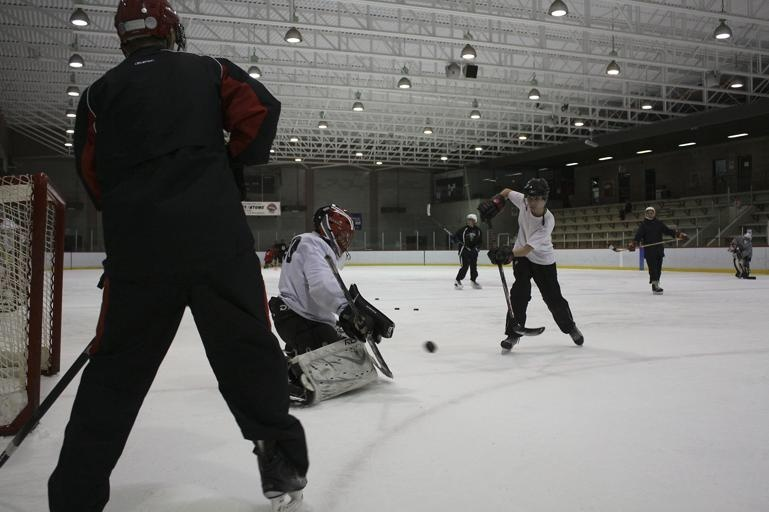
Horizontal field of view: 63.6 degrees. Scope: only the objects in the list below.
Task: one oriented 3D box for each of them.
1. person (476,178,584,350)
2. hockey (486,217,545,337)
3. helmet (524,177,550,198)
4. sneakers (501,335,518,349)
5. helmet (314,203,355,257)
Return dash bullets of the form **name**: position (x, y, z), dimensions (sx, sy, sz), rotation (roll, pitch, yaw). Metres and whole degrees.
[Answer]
- **person**: position (1.266, 0.052, 5.267), dimensions (0.848, 1.405, 1.186), rotation (2, 7, 18)
- **hockey**: position (1.106, 0.275, 5.192), dimensions (0.269, 1.000, 0.143), rotation (-8, -39, 5)
- **helmet**: position (1.206, -0.535, 4.895), dimensions (0.172, 0.194, 0.147), rotation (-5, -6, 34)
- **sneakers**: position (0.994, 0.688, 4.919), dimensions (0.065, 0.089, 0.202), rotation (23, -4, 28)
- **helmet**: position (-0.296, -0.175, 3.821), dimensions (0.263, 0.280, 0.207), rotation (12, -5, 12)
